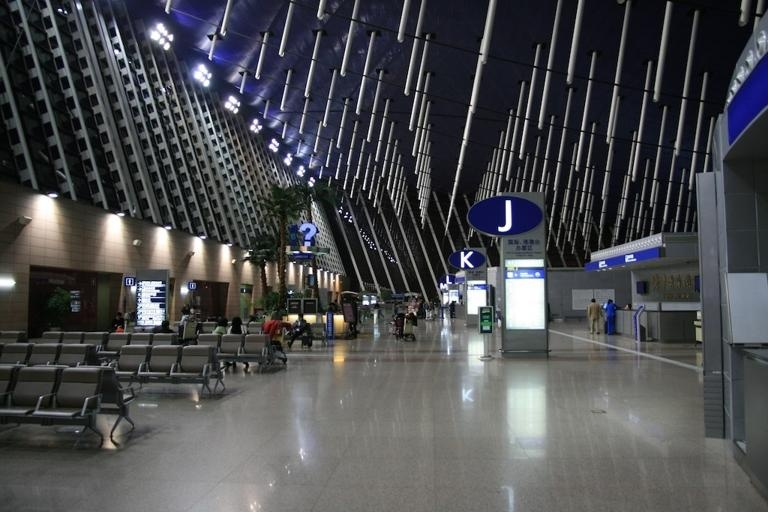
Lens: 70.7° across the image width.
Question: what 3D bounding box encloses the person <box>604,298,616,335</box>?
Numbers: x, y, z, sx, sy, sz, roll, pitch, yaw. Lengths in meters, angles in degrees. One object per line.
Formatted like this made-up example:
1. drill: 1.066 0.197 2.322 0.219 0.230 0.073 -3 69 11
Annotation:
1. person: 11.009 2.994 26.177 0.524 1.614 0.900 -5 -9 30
